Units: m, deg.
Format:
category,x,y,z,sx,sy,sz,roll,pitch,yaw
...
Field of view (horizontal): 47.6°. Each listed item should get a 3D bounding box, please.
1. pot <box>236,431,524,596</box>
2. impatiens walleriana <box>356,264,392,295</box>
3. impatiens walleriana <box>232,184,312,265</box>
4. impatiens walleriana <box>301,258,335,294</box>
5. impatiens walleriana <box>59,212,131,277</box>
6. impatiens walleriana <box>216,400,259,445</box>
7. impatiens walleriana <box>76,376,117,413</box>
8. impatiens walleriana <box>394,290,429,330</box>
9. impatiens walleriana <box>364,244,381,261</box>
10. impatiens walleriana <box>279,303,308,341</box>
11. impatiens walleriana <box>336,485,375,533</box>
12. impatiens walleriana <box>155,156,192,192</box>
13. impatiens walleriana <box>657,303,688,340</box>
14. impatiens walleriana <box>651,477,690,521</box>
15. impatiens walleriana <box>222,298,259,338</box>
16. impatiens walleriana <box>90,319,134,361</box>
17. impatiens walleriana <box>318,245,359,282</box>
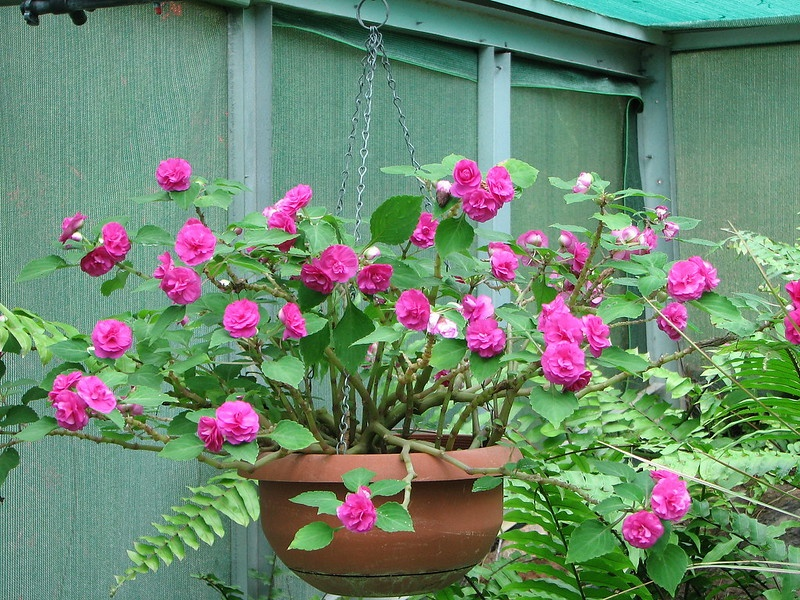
category,x,y,z,sx,sy,sz,roll,pitch,yaw
pot,-0.024,0.489,1.995,0.396,0.232,0.412,-1,-8,0
impatiens walleriana,-0.054,-0.045,1.957,0.077,0.063,0.081,4,0,-1
impatiens walleriana,-0.276,-0.181,2.023,0.144,0.149,0.227,4,0,-21
impatiens walleriana,-0.177,-0.046,1.922,0.067,0.068,0.043,4,8,6
impatiens walleriana,-0.706,-0.125,2.066,0.225,0.144,0.091,4,0,40
impatiens walleriana,-0.326,0.251,1.853,0.084,0.031,0.085,2,14,-27
impatiens walleriana,-0.655,0.208,1.961,0.086,0.042,0.082,-4,7,1
impatiens walleriana,0.028,0.021,1.899,0.071,0.080,0.034,4,-1,-1
impatiens walleriana,-0.062,-0.104,1.998,0.028,0.034,0.019,-4,-44,-2
impatiens walleriana,-0.229,0.042,1.937,0.062,0.077,0.053,4,0,-9
impatiens walleriana,-0.083,0.423,1.839,0.086,0.088,0.061,4,0,-37
impatiens walleriana,-0.502,-0.282,2.040,0.072,0.077,0.094,4,0,-6
impatiens walleriana,0.633,0.049,2.117,0.066,0.076,0.198,4,0,16
impatiens walleriana,0.566,0.413,1.913,0.076,0.083,0.069,4,0,14
impatiens walleriana,-0.328,0.038,1.877,0.068,0.077,0.045,-7,-24,-2
impatiens walleriana,-0.626,0.087,1.991,0.085,0.084,0.044,11,2,-14
impatiens walleriana,-0.137,-0.085,1.918,0.070,0.031,0.079,-24,-27,34
